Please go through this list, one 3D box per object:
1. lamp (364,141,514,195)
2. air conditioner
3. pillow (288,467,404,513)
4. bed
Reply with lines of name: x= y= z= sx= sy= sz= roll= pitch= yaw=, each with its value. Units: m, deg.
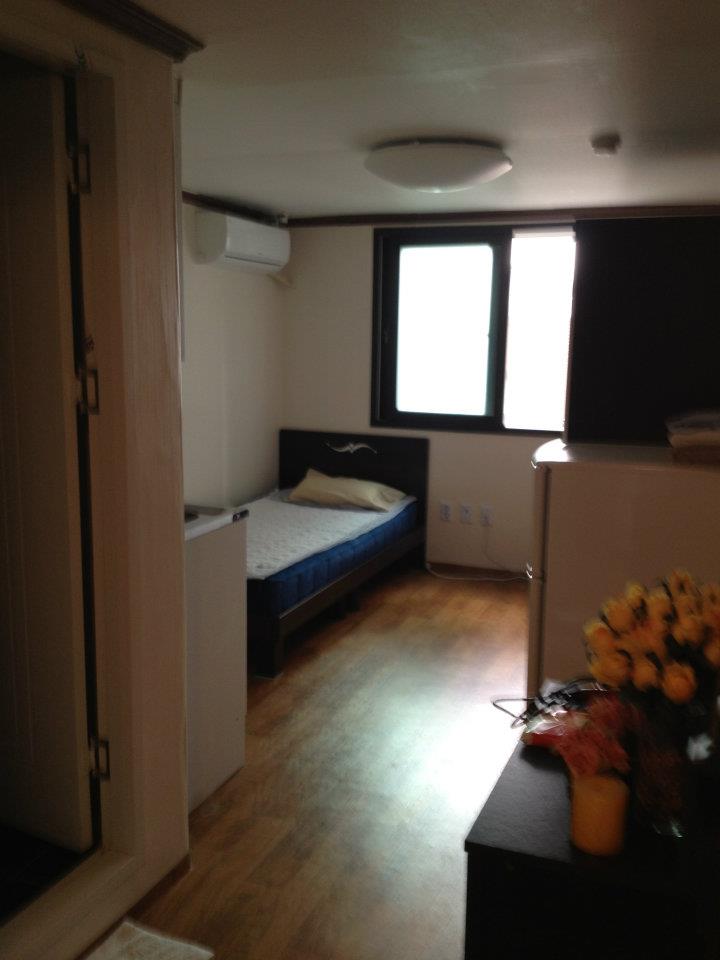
lamp: x=0.276 y=-1.170 z=3.003 sx=0.539 sy=0.124 sz=0.396 roll=3 pitch=8 yaw=11
air conditioner: x=-0.660 y=-1.341 z=4.546 sx=0.209 sy=0.308 sz=0.699 roll=21 pitch=18 yaw=20
pillow: x=-0.115 y=0.081 z=4.869 sx=0.454 sy=0.105 sz=0.313 roll=6 pitch=32 yaw=11
bed: x=-0.366 y=0.279 z=4.339 sx=0.893 sy=1.041 sz=1.593 roll=-1 pitch=11 yaw=29
